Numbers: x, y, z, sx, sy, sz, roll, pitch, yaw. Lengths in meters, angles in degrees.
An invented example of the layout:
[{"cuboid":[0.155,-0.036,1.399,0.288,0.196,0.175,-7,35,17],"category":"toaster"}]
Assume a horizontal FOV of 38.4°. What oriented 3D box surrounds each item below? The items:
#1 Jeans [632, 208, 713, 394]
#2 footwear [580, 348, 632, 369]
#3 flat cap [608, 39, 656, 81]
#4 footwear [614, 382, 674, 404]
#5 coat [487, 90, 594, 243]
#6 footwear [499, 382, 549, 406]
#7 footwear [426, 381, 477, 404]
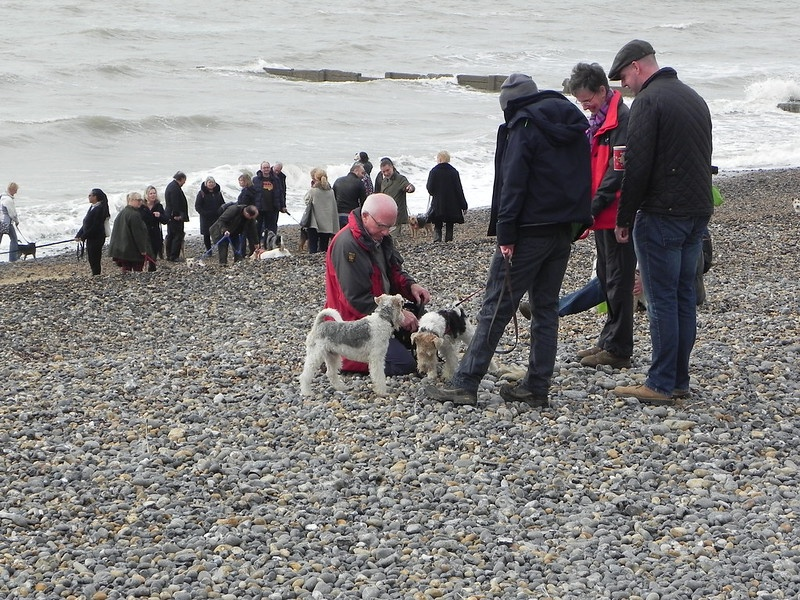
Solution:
[{"cuboid":[3.239,-0.108,13.971,0.771,2.442,0.987,5,6,44],"category":"Jeans"},{"cuboid":[2.665,0.784,14.946,0.463,0.154,0.316,9,1,7],"category":"footwear"},{"cuboid":[2.779,-2.932,13.869,0.648,0.325,0.449,-23,-1,15],"category":"flat cap"},{"cuboid":[2.984,1.156,14.150,0.685,0.286,0.230,14,5,23],"category":"footwear"},{"cuboid":[1.705,-1.560,13.610,1.815,1.653,1.111,-12,24,-26],"category":"coat"},{"cuboid":[1.511,1.143,14.220,0.617,0.260,0.240,18,21,22],"category":"footwear"},{"cuboid":[0.643,1.171,14.280,0.616,0.262,0.234,14,12,13],"category":"footwear"}]
